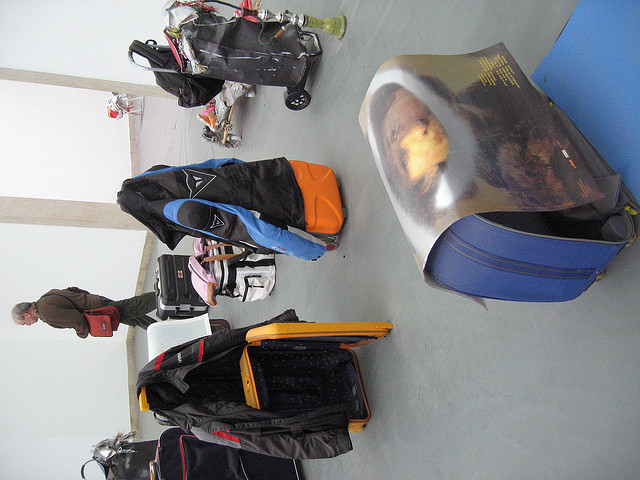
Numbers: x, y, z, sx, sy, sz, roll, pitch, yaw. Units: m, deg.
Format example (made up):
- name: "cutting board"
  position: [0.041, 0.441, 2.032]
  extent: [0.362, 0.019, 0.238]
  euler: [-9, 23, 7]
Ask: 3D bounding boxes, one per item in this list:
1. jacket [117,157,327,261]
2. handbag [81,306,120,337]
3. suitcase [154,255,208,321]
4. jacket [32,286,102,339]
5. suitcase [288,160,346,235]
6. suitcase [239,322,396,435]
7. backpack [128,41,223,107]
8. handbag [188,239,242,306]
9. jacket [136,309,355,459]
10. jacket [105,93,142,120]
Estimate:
- name: "jacket"
  position: [-0.633, -0.212, 3.452]
  extent: [0.886, 0.752, 0.371]
  euler: [-8, -14, -8]
- name: "handbag"
  position: [-2.088, 0.754, 5.293]
  extent: [0.263, 0.396, 0.133]
  euler: [8, 23, -21]
- name: "suitcase"
  position: [-1.252, 0.394, 4.960]
  extent: [0.467, 0.230, 0.647]
  euler: [0, 47, -33]
- name: "jacket"
  position: [-2.381, 0.692, 5.240]
  extent: [0.589, 0.411, 0.610]
  euler: [15, -6, 34]
- name: "suitcase"
  position: [0.003, -0.355, 3.883]
  extent: [0.323, 0.543, 0.287]
  euler: [-9, 25, 4]
- name: "suitcase"
  position: [-0.008, 0.783, 3.473]
  extent: [0.877, 0.718, 0.468]
  euler: [-3, 8, 0]
- name: "backpack"
  position: [-1.088, -1.285, 4.101]
  extent: [0.541, 0.557, 0.370]
  euler: [-32, 31, -13]
- name: "handbag"
  position: [-0.759, 0.254, 4.127]
  extent: [0.162, 0.489, 0.455]
  euler: [0, 27, -22]
- name: "jacket"
  position: [-0.452, 0.956, 3.379]
  extent: [1.104, 0.366, 0.985]
  euler: [-4, 44, -8]
- name: "jacket"
  position: [-2.058, -1.386, 5.737]
  extent: [0.249, 0.152, 0.198]
  euler: [-4, -1, -14]
